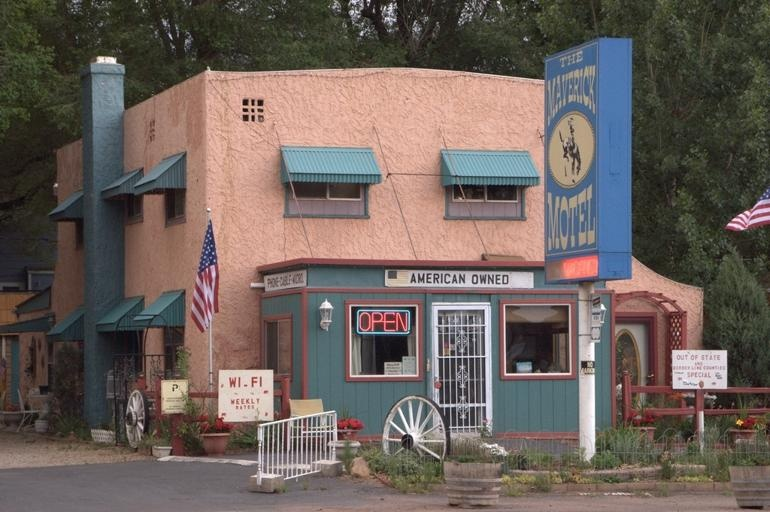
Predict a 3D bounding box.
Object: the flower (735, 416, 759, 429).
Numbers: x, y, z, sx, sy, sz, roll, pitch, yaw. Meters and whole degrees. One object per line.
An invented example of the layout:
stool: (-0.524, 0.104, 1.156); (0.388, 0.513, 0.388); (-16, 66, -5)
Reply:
flower: (10.797, 4.950, 50.074); (0.419, 0.392, 0.442); (2, -13, 4)

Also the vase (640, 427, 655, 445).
vase: (7.646, 5.176, 49.270); (0.548, 0.585, 0.432); (0, -4, -6)

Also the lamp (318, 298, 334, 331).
lamp: (-1.735, 1.696, 50.416); (0.432, 0.954, 0.290); (0, -9, -3)

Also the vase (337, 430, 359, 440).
vase: (-1.028, 5.141, 48.886); (0.598, 0.360, 0.935); (2, -11, -16)

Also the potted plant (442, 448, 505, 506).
potted plant: (2.344, 5.870, 44.316); (1.270, 1.028, 1.241); (-5, -9, 28)

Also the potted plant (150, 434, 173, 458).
potted plant: (-6.625, 5.571, 50.008); (0.639, 0.777, 1.201); (1, -11, -8)

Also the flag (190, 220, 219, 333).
flag: (-5.474, 0.428, 51.425); (0.743, 3.519, 1.096); (1, -10, -8)

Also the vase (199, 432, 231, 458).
vase: (-4.980, 5.470, 49.339); (0.658, 0.483, 0.691); (-3, -12, 14)

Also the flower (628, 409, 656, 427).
flower: (7.664, 4.816, 50.089); (0.538, 0.497, 0.561); (-5, -8, 36)

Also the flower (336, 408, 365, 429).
flower: (-1.033, 4.752, 49.344); (0.520, 0.494, 0.678); (3, -10, -9)
